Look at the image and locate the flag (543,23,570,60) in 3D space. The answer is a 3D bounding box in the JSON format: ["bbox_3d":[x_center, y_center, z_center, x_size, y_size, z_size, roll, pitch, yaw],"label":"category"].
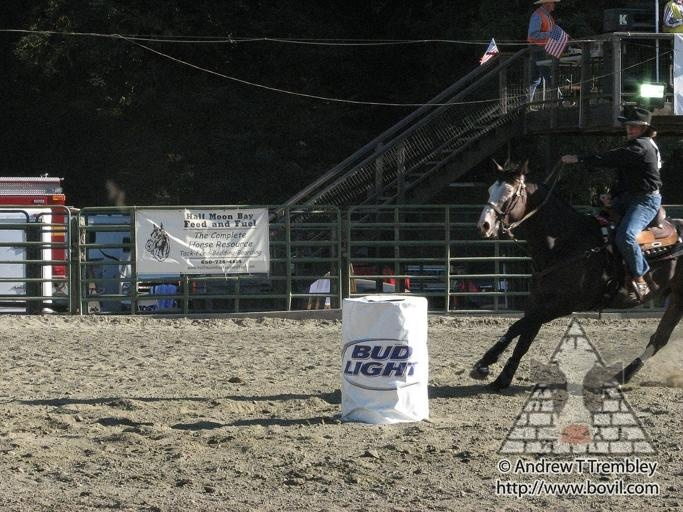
[{"bbox_3d":[4.777,-4.823,30.549,0.523,0.748,0.712,2,0,7],"label":"flag"}]

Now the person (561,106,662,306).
[{"bbox_3d":[4.831,-0.924,23.466,1.231,3.369,0.636,2,0,6],"label":"person"}]

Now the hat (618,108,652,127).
[{"bbox_3d":[5.007,-2.414,23.518,0.513,0.319,0.277,2,0,14],"label":"hat"}]

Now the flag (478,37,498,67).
[{"bbox_3d":[3.550,-4.928,32.970,0.422,0.657,0.953,2,0,-1],"label":"flag"}]
